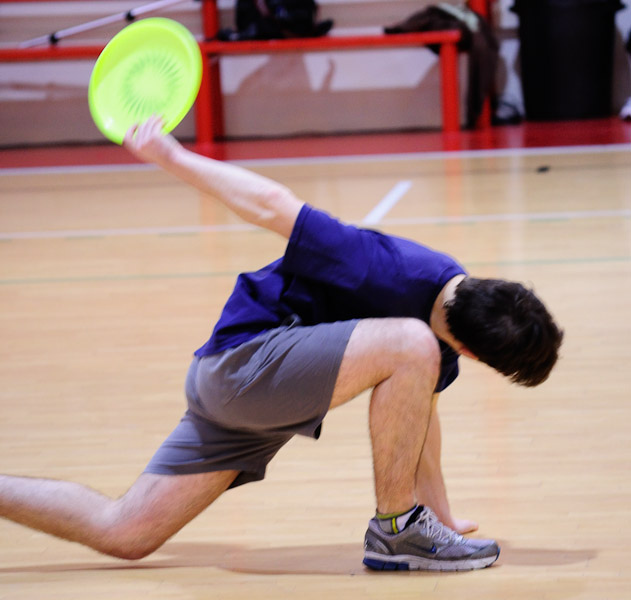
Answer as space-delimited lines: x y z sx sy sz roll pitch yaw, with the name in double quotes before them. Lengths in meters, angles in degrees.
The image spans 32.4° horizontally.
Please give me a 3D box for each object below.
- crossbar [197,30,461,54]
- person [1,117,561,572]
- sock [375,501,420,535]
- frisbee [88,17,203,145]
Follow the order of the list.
"crossbar" 0.103 -1.702 7.188 1.732 0.117 0.265 1 11 8
"person" -0.065 0.096 2.246 1.117 0.936 0.271 1 15 7
"sock" 0.166 0.450 2.234 0.087 0.059 0.033 0 14 2
"frisbee" -0.379 -0.497 2.409 0.376 0.278 0.083 -13 -25 28
